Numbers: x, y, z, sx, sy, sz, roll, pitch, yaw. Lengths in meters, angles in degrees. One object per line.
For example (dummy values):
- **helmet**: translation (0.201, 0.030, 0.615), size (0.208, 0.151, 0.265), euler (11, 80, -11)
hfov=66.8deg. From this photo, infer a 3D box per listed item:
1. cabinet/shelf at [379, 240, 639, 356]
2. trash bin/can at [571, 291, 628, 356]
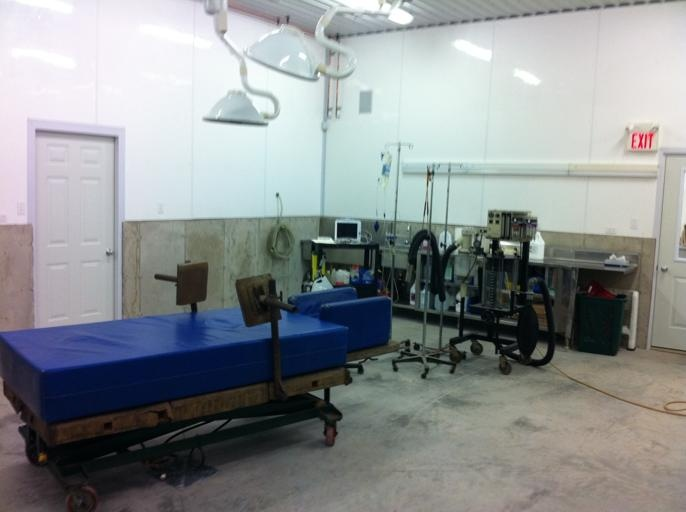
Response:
- **cabinet/shelf**: translation (2.993, 0.412, 7.571), size (2.598, 1.513, 0.862), euler (10, 14, 34)
- **trash bin/can**: translation (3.458, 0.890, 7.339), size (0.766, 1.007, 0.734), euler (2, -1, 21)
